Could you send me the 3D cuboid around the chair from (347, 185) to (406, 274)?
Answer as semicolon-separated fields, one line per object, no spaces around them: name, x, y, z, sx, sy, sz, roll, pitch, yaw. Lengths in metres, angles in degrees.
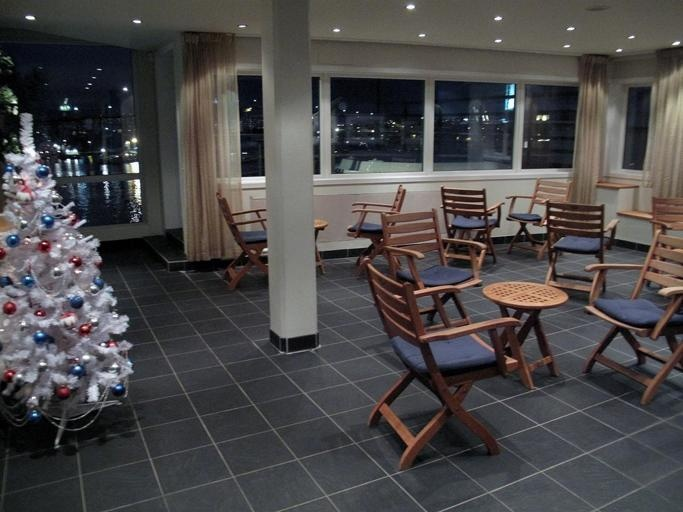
chair;0.475;-0.342;6.520;0.879;0.947;0.804;0;0;-1

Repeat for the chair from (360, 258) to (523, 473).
chair;0.660;0.664;2.917;0.900;0.886;0.857;-1;4;-13

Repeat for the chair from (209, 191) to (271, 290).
chair;-1.164;-0.190;6.023;0.980;0.923;0.860;0;10;-2

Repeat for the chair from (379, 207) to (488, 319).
chair;0.913;0.056;4.521;0.947;0.756;0.837;8;21;14
